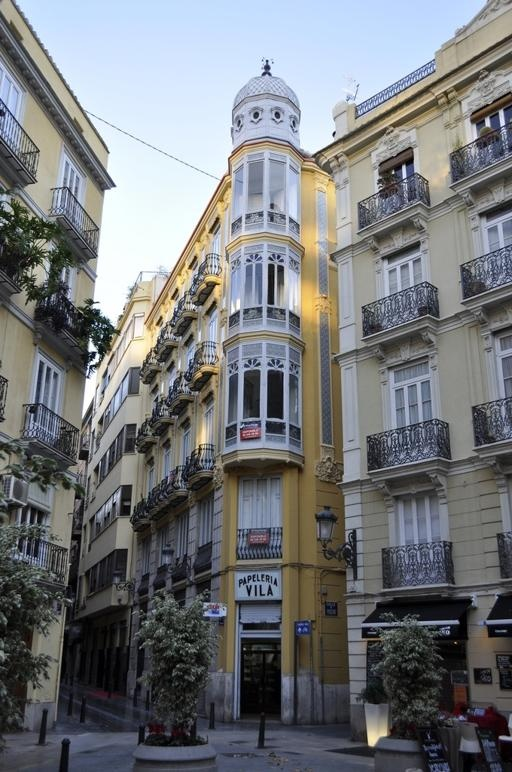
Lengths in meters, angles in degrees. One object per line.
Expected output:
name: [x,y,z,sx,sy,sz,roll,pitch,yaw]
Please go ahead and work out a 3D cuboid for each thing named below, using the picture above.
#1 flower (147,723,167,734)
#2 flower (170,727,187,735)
flower: [-1.352,4.647,8.519,0.222,0.129,0.451,3,-23,-8]
flower: [-1.031,4.593,8.380,0.171,0.125,0.199,2,-22,-6]
